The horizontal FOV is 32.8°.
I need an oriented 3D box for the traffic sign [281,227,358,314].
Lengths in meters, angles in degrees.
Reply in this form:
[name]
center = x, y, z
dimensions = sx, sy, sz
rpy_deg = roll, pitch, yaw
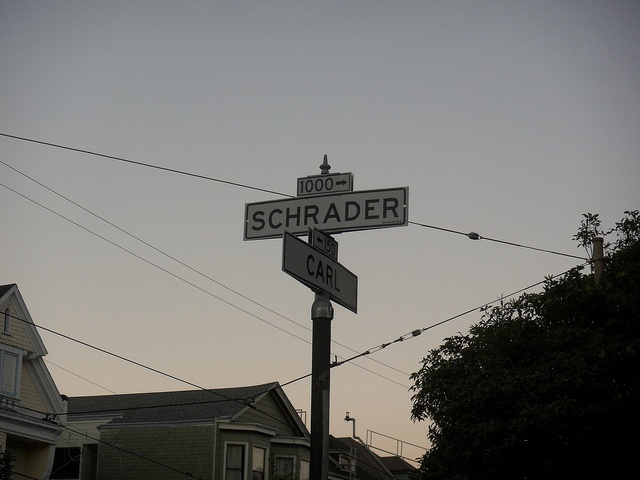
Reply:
[traffic sign]
center = 0.131, 0.515, 21.922
dimensions = 0.246, 2.303, 1.238
rpy_deg = -17, -58, -39
